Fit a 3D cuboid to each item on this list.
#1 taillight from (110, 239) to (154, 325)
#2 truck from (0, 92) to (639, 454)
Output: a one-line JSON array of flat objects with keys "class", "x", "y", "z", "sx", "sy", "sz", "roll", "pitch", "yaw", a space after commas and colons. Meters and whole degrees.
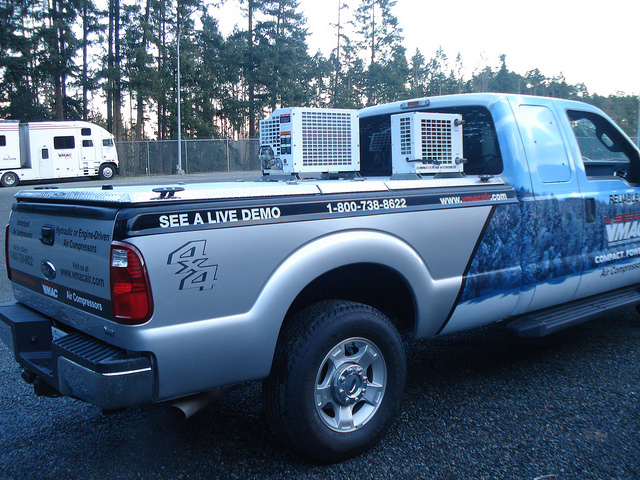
[{"class": "taillight", "x": -1.063, "y": 0.243, "z": 2.693, "sx": 0.233, "sy": 0.478, "sz": 0.072, "roll": 2, "pitch": 10, "yaw": 17}, {"class": "truck", "x": 0.293, "y": 0.064, "z": 3.800, "sx": 4.965, "sy": 2.480, "sz": 1.261, "roll": -6, "pitch": 11, "yaw": -26}]
